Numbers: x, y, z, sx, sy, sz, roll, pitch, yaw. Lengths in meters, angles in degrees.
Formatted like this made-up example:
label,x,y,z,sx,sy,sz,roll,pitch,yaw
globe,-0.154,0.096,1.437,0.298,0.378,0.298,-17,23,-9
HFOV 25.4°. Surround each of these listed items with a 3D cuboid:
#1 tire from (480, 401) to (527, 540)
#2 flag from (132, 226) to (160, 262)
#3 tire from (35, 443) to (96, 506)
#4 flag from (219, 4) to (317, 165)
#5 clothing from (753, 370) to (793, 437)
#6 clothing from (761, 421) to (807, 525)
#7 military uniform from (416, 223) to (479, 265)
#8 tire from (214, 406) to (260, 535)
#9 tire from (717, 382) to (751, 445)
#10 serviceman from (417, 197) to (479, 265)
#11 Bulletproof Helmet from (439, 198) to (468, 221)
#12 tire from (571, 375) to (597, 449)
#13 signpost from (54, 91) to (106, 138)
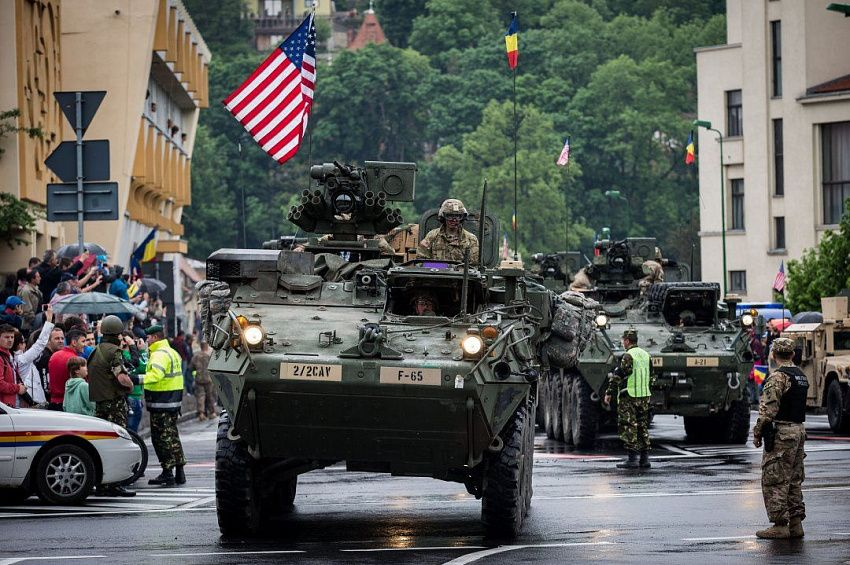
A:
label,x,y,z,sx,sy,sz,roll,pitch,yaw
tire,1.768,3.851,38.642,0.704,2.743,1.314,-2,-3,36
flag,-9.569,-1.381,64.080,0.953,0.194,2.327,-34,-8,-14
tire,-7.862,4.165,40.807,1.197,1.299,0.436,2,-3,-17
flag,-3.992,-5.372,47.985,2.388,5.713,0.531,16,-40,-26
clothing,7.037,2.478,38.862,0.888,1.259,0.359,19,-13,-35
clothing,7.335,3.907,38.472,0.861,2.044,0.604,0,-2,5
military uniform,0.466,-0.838,40.988,1.382,1.208,0.813,3,-18,-3
tire,-3.853,3.934,38.565,0.835,2.527,0.592,0,-2,-1
tire,7.833,3.356,47.901,0.867,1.493,0.621,-1,-3,29
serviceman,0.488,-0.870,41.040,1.303,1.915,1.064,4,-10,-2
Bulletproof Helmet,0.584,-1.643,41.045,0.436,0.402,0.494,1,-7,-4
tire,3.957,3.287,47.694,0.455,1.875,0.849,1,-3,-36
signpost,-7.766,-3.821,42.306,1.171,1.094,0.126,0,-31,-17
